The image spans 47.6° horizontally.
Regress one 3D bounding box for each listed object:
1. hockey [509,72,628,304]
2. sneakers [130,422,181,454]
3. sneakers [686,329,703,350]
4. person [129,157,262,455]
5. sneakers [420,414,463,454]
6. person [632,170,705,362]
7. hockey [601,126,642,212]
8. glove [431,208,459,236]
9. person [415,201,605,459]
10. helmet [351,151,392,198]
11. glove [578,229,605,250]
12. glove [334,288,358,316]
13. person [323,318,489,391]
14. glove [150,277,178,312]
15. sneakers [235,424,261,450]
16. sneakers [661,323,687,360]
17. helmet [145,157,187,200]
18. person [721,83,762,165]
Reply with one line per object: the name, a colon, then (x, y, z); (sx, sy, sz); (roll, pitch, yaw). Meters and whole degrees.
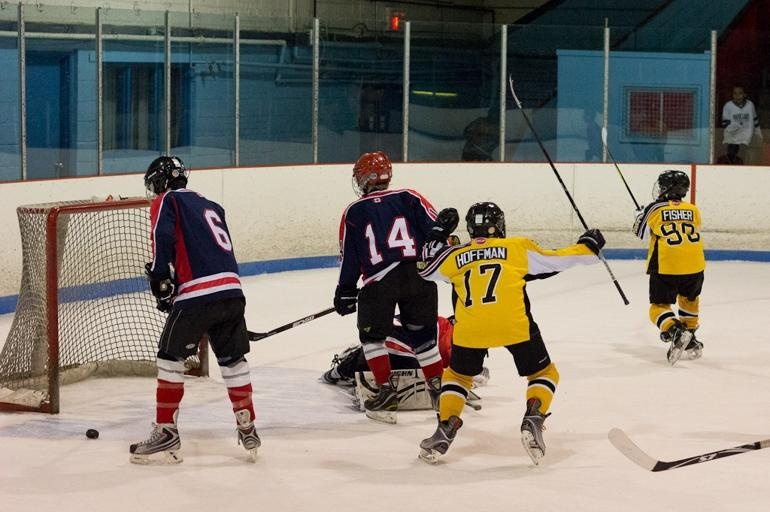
hockey: (1.920, -0.724, 9.268); (0.130, 3.192, 0.335); (-29, 22, 12)
sneakers: (-1.287, 1.047, 5.061); (0.369, 0.212, 0.121); (2, -1, -2)
sneakers: (2.334, 0.614, 6.532); (0.098, 0.162, 0.240); (7, 15, 26)
person: (-1.104, 0.383, 5.041); (0.695, 1.487, 0.558); (-2, 14, -9)
sneakers: (0.336, 1.027, 5.005); (0.252, 0.262, 0.134); (-12, 18, -40)
person: (2.214, 0.061, 6.746); (0.574, 1.352, 0.951); (4, 15, 17)
hockey: (2.764, -0.986, 10.148); (0.116, 1.452, 0.216); (-22, 32, 8)
glove: (0.390, -0.186, 5.375); (0.114, 0.191, 0.078); (19, -7, 32)
person: (0.695, 0.431, 5.055); (0.986, 1.414, 0.645); (1, 14, 3)
helmet: (-0.073, -0.550, 5.865); (0.249, 0.287, 0.304); (-10, 16, -34)
glove: (1.208, -0.092, 5.083); (0.144, 0.154, 0.198); (5, 14, 17)
glove: (-0.252, 0.292, 5.674); (0.133, 0.169, 0.074); (1, 2, -2)
person: (0.029, 0.673, 6.044); (0.818, 0.287, 0.570); (-2, 2, 12)
glove: (-1.261, 0.225, 4.981); (0.149, 0.167, 0.181); (0, -1, -13)
sneakers: (-0.791, 1.024, 5.043); (0.098, 0.182, 0.079); (-4, -33, -11)
sneakers: (2.191, 0.636, 6.548); (0.157, 0.271, 0.318); (1, 14, 5)
helmet: (-1.262, -0.480, 5.261); (0.261, 0.243, 0.214); (3, 5, 21)
person: (4.254, -1.545, 10.391); (0.477, 0.864, 0.275); (-7, 16, -25)
